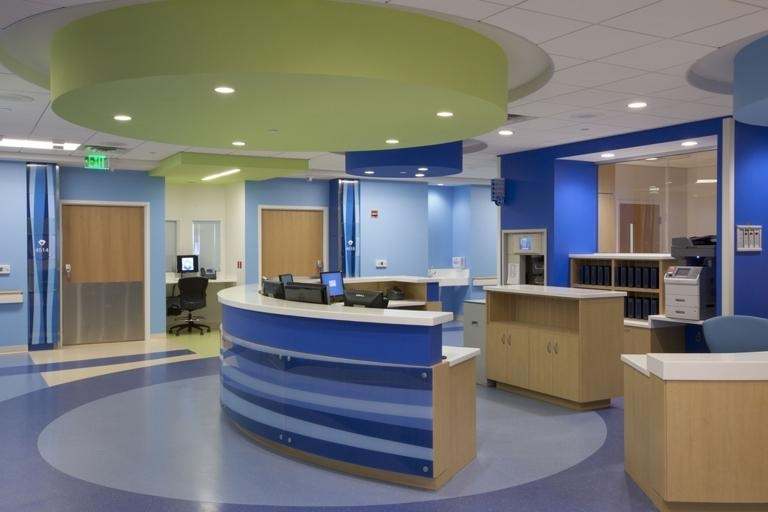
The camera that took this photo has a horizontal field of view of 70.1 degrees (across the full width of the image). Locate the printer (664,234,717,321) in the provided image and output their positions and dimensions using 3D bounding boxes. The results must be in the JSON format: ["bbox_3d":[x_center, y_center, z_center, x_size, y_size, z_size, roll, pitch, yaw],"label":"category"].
[{"bbox_3d":[4.481,0.328,8.006,0.672,1.239,0.439,2,6,27],"label":"printer"}]

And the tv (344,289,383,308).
[{"bbox_3d":[-0.264,0.592,7.578,0.355,0.229,0.704,-4,6,-34],"label":"tv"}]

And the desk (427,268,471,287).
[{"bbox_3d":[1.768,0.617,14.573,1.101,0.442,1.839,-1,5,-2],"label":"desk"}]

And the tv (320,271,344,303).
[{"bbox_3d":[-0.855,0.531,9.038,0.303,0.486,0.513,-5,-6,42],"label":"tv"}]

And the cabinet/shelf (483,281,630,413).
[{"bbox_3d":[2.480,1.276,8.438,1.458,2.162,2.629,2,-3,-33],"label":"cabinet/shelf"}]

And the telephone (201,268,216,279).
[{"bbox_3d":[-4.337,0.442,13.419,0.285,0.163,0.382,3,-1,-35],"label":"telephone"}]

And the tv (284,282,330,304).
[{"bbox_3d":[-1.007,0.456,6.866,0.328,0.232,0.770,-5,7,-40],"label":"tv"}]

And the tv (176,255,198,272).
[{"bbox_3d":[-4.725,0.200,13.157,0.457,0.420,0.175,-3,6,-29],"label":"tv"}]
